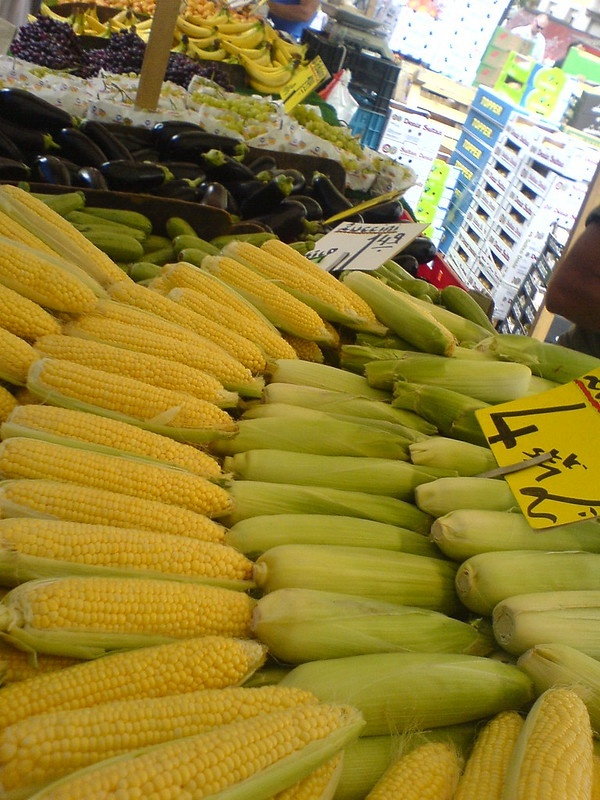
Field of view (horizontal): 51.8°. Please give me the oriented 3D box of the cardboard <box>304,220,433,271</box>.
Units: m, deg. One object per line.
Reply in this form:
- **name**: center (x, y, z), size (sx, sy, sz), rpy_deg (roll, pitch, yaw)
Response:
- **cardboard**: center (0.297, -0.724, 3.013), size (0.494, 0.368, 0.111), rpy_deg (24, -31, 47)
